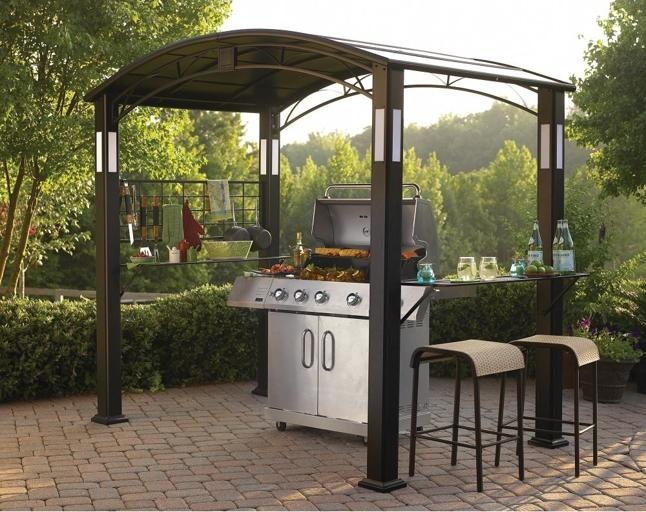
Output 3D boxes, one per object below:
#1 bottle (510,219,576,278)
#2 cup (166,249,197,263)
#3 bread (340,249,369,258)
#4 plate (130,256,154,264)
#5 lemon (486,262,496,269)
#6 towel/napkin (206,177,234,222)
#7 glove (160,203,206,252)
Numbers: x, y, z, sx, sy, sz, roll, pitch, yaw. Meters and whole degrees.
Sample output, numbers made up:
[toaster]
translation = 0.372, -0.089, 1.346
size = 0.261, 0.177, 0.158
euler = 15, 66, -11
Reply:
[bottle]
translation = 1.836, -0.075, 5.810
size = 0.416, 0.458, 0.638
euler = 2, 4, 29
[cup]
translation = -1.338, 0.002, 6.724
size = 0.273, 0.128, 0.335
euler = 0, 4, -10
[bread]
translation = 0.290, -0.025, 6.544
size = 0.346, 0.071, 0.130
euler = 3, 4, 33
[plate]
translation = -1.679, 0.037, 6.561
size = 0.216, 0.066, 0.326
euler = -1, 4, -15
[lemon]
translation = 1.304, 0.073, 5.401
size = 0.052, 0.039, 0.053
euler = 2, 2, 40
[towel/napkin]
translation = -1.097, -0.609, 7.538
size = 0.271, 0.459, 0.886
euler = 0, 4, -8
[glove]
translation = -1.392, -0.299, 6.857
size = 0.328, 0.497, 0.194
euler = -4, 10, -41
